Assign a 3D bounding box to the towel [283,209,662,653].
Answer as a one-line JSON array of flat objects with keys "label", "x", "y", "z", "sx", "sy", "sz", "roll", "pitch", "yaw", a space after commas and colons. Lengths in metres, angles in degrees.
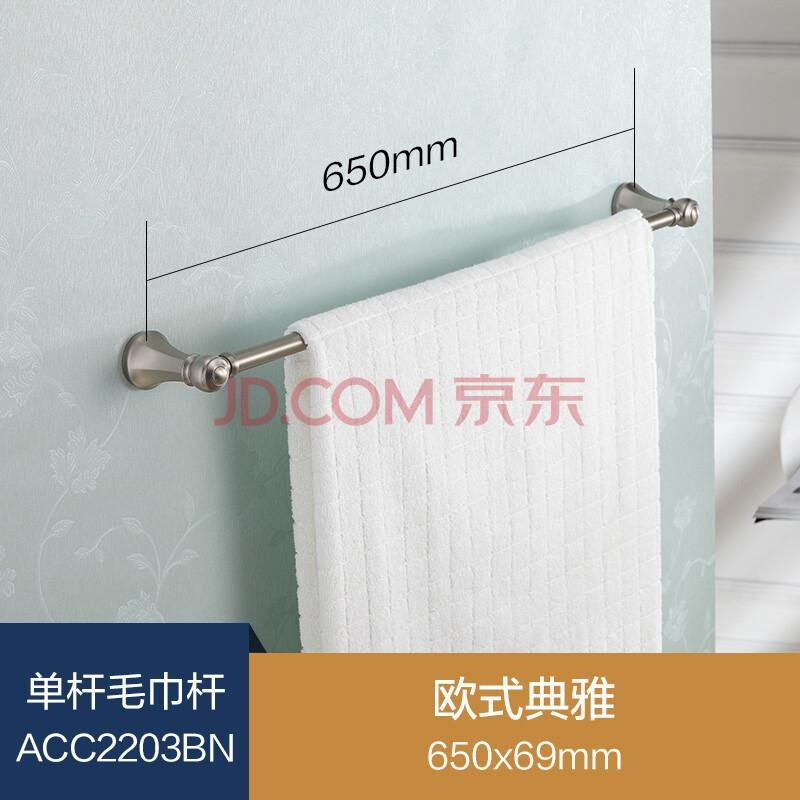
[{"label": "towel", "x": 0.050, "y": 0.018, "z": 0.788, "sx": 0.314, "sy": 0.372, "sz": 0.048, "roll": -13, "pitch": 14, "yaw": -40}]
